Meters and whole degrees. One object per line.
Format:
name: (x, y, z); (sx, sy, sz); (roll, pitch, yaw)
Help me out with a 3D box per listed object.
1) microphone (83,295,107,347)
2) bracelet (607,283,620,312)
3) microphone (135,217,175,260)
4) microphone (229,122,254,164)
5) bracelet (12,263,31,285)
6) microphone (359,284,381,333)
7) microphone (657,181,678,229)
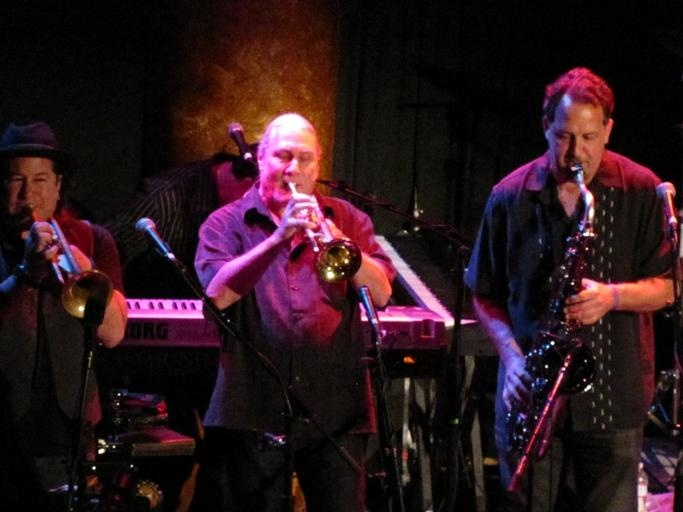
microphone: (-1.190, 0.311, 3.843); (0.111, 0.230, 0.120); (0, -1, -17)
bracelet: (1.329, 0.196, 3.885); (0.047, 0.114, 0.055); (0, -1, 1)
microphone: (-1.061, -0.101, 4.475); (0.094, 0.090, 0.331); (-13, 44, -35)
microphone: (-0.577, -0.666, 4.567); (0.101, 0.100, 0.371); (-1, 30, -15)
bracelet: (-1.645, 0.092, 4.087); (0.084, 0.113, 0.042); (3, 9, 0)
microphone: (0.137, 0.252, 3.802); (0.054, 0.299, 0.055); (-5, -30, -31)
microphone: (1.619, -0.266, 3.952); (0.090, 0.236, 0.228); (0, -1, 22)
